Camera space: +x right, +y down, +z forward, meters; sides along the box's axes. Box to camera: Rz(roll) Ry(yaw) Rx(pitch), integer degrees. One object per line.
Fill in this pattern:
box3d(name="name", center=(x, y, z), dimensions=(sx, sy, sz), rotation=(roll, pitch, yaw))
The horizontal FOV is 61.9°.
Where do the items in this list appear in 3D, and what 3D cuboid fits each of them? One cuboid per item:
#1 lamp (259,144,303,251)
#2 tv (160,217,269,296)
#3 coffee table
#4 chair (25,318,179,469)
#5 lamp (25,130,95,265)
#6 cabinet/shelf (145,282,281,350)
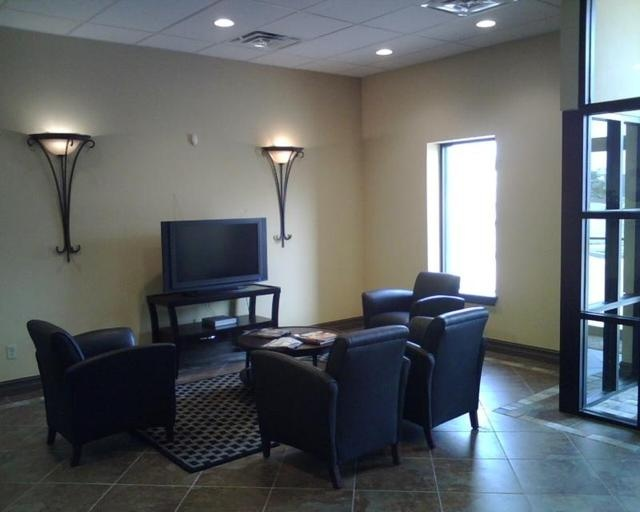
box3d(name="lamp", center=(-0.416, -0.739, 6.798), dimensions=(0.604, 1.272, 0.293), rotation=(-9, 12, -41))
box3d(name="tv", center=(-1.226, 0.013, 5.934), dimensions=(0.830, 0.582, 0.085), rotation=(-6, 9, -35))
box3d(name="coffee table", center=(-0.276, 0.966, 4.840), dimensions=(0.704, 0.290, 0.729), rotation=(-1, 5, -1))
box3d(name="chair", center=(-1.692, 0.893, 4.175), dimensions=(1.095, 1.240, 0.899), rotation=(-5, 6, -44))
box3d(name="lamp", center=(-2.535, -0.571, 5.367), dimensions=(0.612, 1.268, 0.277), rotation=(-5, 10, -27))
box3d(name="cabinet/shelf", center=(-1.162, 0.720, 6.081), dimensions=(1.458, 0.668, 0.499), rotation=(-4, 7, -45))
